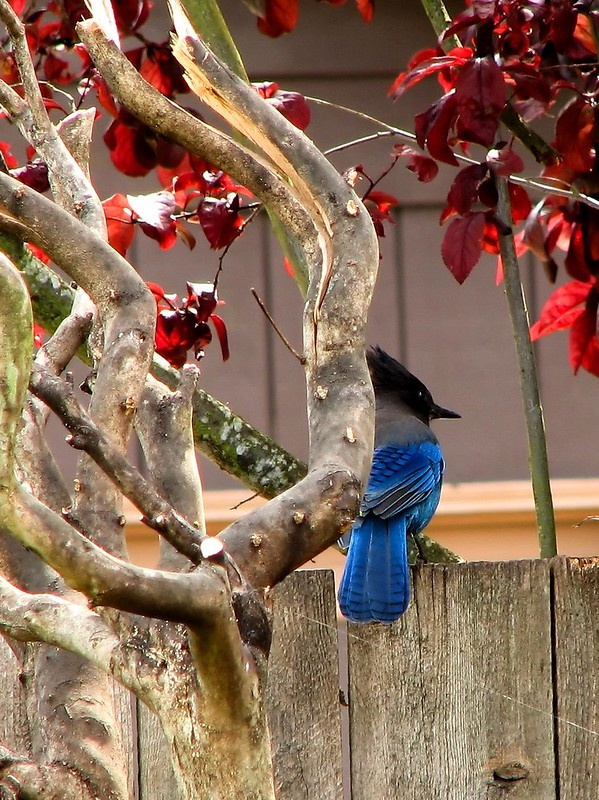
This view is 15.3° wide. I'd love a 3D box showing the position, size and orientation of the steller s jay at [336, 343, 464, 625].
[{"bbox_3d":[0.205,0.204,4.933,0.180,0.499,0.762,-11,4,15],"label":"steller s jay"}]
